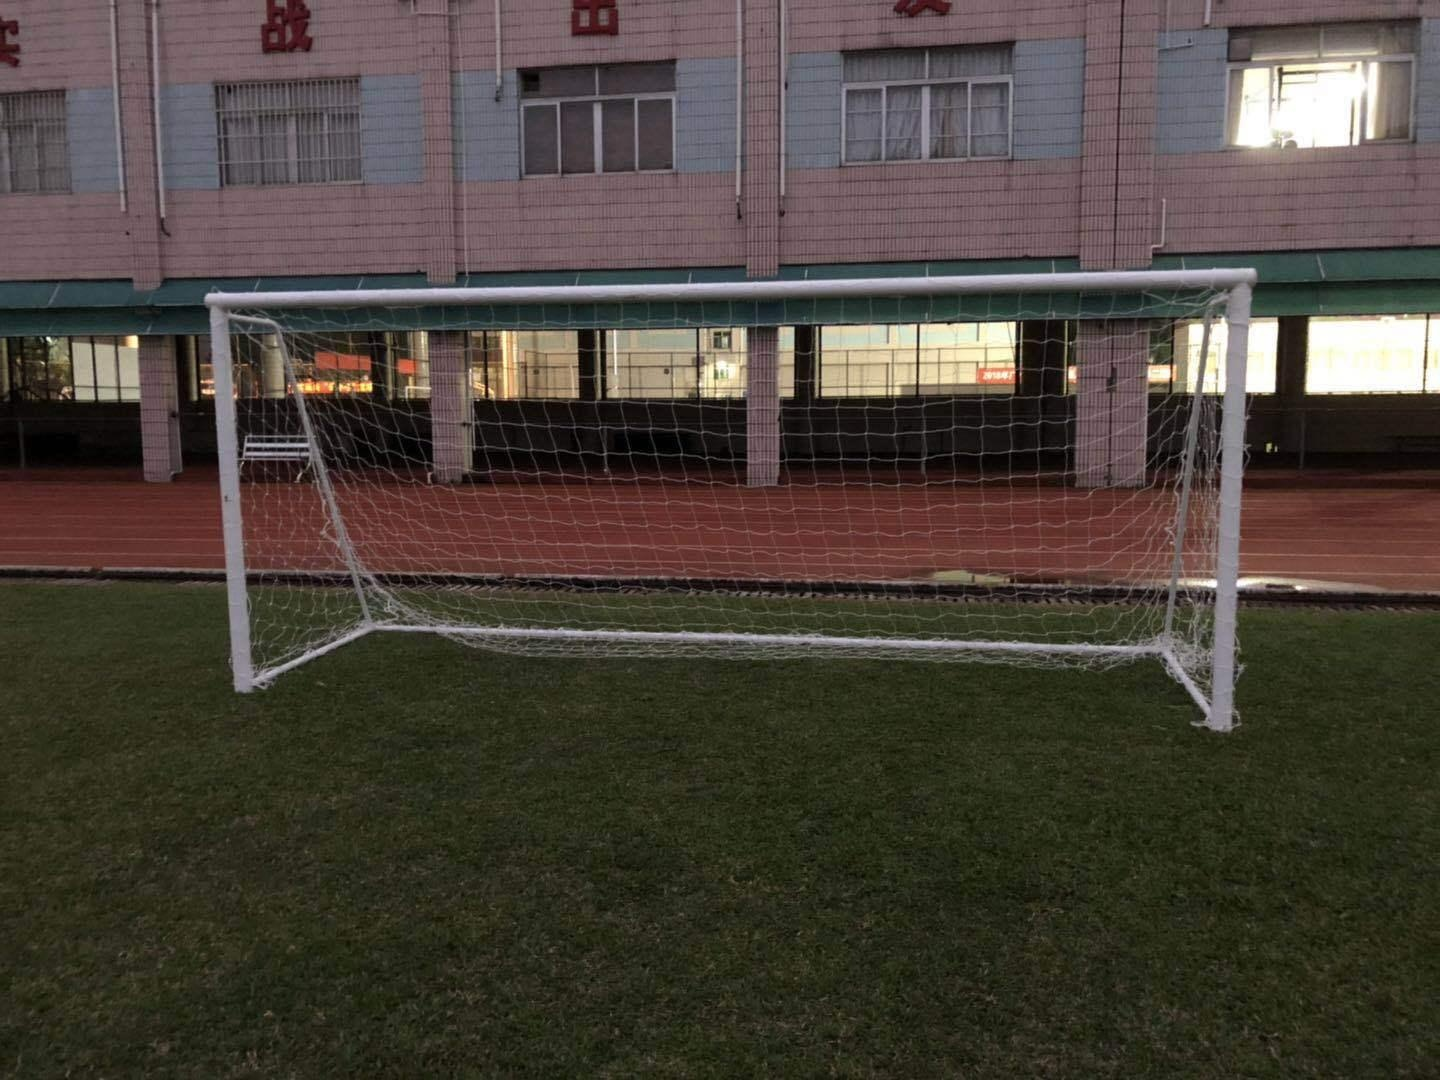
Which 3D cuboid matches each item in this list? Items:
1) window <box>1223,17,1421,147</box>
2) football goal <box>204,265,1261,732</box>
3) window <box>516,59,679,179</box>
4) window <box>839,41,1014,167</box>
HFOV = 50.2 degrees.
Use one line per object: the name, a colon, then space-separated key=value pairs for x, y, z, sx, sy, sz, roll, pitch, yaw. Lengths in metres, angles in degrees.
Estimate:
window: x=7.719 y=-5.957 z=19.649 sx=2.394 sy=1.210 sz=0.075 roll=-1 pitch=19 yaw=6
football goal: x=-0.042 y=-1.088 z=20.740 sx=13.097 sy=4.092 sz=3.701 roll=-1 pitch=-9 yaw=13
window: x=-1.728 y=-5.846 z=21.276 sx=2.948 sy=1.482 sz=0.042 roll=11 pitch=19 yaw=39
window: x=2.721 y=-5.864 z=20.536 sx=0.138 sy=1.486 sz=2.943 roll=-16 pitch=21 yaw=-39
